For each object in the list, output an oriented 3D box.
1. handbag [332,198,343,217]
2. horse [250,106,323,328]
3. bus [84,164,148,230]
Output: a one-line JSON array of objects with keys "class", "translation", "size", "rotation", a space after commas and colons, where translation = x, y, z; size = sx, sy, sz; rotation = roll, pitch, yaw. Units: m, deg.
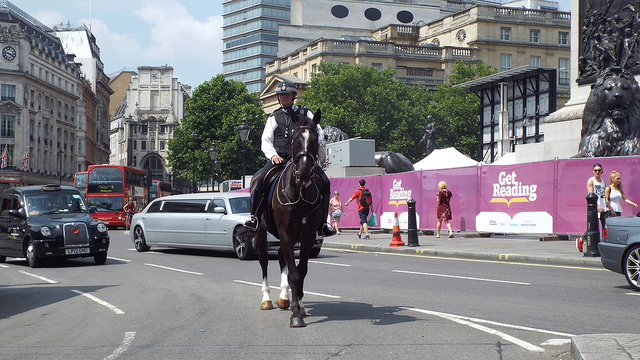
[{"class": "handbag", "translation": [1.046, 1.554, 45.473], "size": [0.491, 0.982, 0.724], "rotation": [8, -18, -15]}, {"class": "horse", "translation": [-0.901, 1.197, 28.539], "size": [2.830, 7.178, 3.046], "rotation": [0, -1, -5]}, {"class": "bus", "translation": [-15.765, 1.161, 61.632], "size": [3.656, 4.230, 13.377], "rotation": [0, -1, -11]}]
